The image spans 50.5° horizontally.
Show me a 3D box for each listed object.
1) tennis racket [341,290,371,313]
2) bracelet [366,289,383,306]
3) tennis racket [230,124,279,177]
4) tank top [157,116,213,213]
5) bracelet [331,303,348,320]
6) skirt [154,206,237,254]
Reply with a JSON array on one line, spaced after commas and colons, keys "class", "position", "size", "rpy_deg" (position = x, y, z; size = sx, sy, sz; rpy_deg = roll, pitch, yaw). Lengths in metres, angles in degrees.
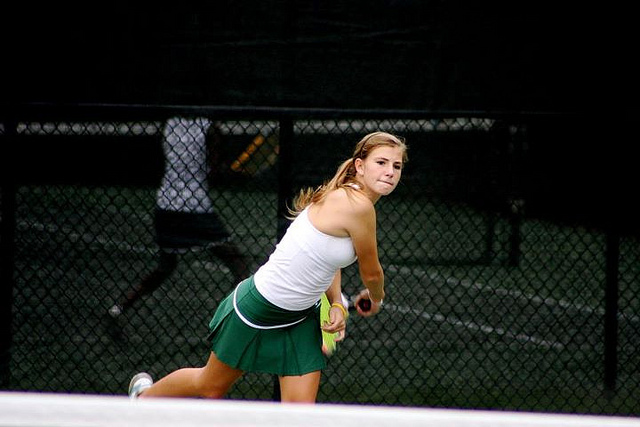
[{"class": "tennis racket", "position": [0.290, 0.686, 5.164], "size": [0.258, 0.132, 0.356], "rpy_deg": [0, -16, 17]}, {"class": "bracelet", "position": [0.390, 0.620, 4.923], "size": [0.107, 0.083, 0.111], "rpy_deg": [0, 56, -5]}, {"class": "tennis racket", "position": [-1.065, -0.982, 10.636], "size": [0.566, 0.219, 1.050], "rpy_deg": [23, 52, -9]}, {"class": "tank top", "position": [-1.353, -0.483, 6.797], "size": [0.552, 0.955, 0.392], "rpy_deg": [0, 6, -9]}, {"class": "bracelet", "position": [0.144, 0.708, 4.939], "size": [0.028, 0.106, 0.108], "rpy_deg": [-26, -5, -15]}, {"class": "skirt", "position": [-1.298, 0.189, 7.059], "size": [0.643, 0.325, 0.488], "rpy_deg": [3, -1, -37]}]
